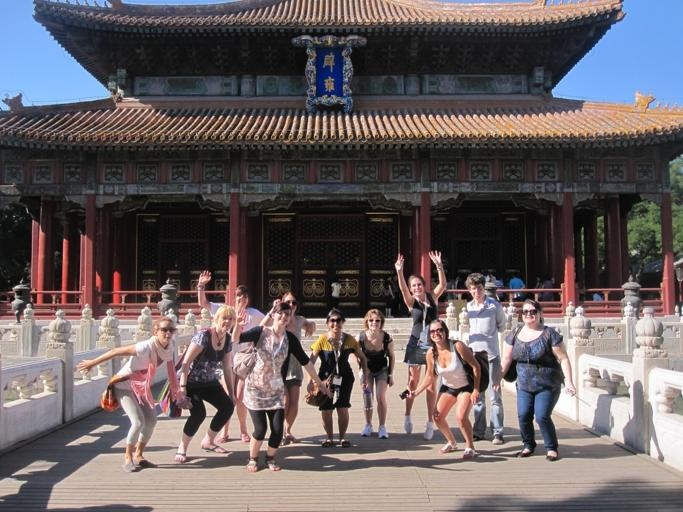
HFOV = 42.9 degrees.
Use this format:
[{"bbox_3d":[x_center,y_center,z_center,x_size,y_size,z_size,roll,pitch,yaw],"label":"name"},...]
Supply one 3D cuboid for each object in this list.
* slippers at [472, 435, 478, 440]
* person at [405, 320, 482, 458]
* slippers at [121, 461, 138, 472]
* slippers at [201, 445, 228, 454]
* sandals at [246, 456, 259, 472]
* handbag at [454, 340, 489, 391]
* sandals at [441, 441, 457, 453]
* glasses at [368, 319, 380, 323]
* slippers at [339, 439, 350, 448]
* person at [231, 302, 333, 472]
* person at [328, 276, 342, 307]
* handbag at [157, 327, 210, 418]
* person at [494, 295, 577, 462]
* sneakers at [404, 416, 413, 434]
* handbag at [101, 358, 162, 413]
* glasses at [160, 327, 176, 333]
[{"bbox_3d":[2.347,3.066,14.804,0.084,0.067,0.062,6,-10,6],"label":"slippers"},{"bbox_3d":[1.828,2.127,14.374,1.042,2.128,0.755,3,10,17],"label":"person"},{"bbox_3d":[-3.350,3.288,13.757,0.242,0.147,0.169,-4,11,-19],"label":"slippers"},{"bbox_3d":[-2.101,3.129,14.383,0.382,0.105,0.167,6,8,4],"label":"slippers"},{"bbox_3d":[-1.397,3.247,13.738,0.208,0.210,0.208,-3,11,-12],"label":"sandals"},{"bbox_3d":[2.259,2.004,14.599,0.474,0.820,0.547,5,-2,-28],"label":"handbag"},{"bbox_3d":[1.832,3.127,14.366,0.311,0.140,0.117,-5,6,0],"label":"sandals"},{"bbox_3d":[0.615,1.082,14.844,0.197,0.069,0.064,-3,11,-15],"label":"glasses"},{"bbox_3d":[0.091,3.105,14.681,0.198,0.134,0.266,0,11,-1],"label":"slippers"},{"bbox_3d":[-1.071,1.985,13.928,1.151,2.604,0.841,-5,11,-24],"label":"person"},{"bbox_3d":[-0.157,1.211,28.479,0.386,1.005,0.750,0,10,0],"label":"person"},{"bbox_3d":[-2.673,1.809,14.119,0.568,1.222,1.175,-12,-18,29],"label":"handbag"},{"bbox_3d":[3.273,1.982,14.220,1.186,2.491,0.653,3,10,17],"label":"person"},{"bbox_3d":[1.223,2.911,15.274,0.111,0.342,0.131,-2,-9,3],"label":"sneakers"},{"bbox_3d":[-3.448,2.004,14.087,0.953,1.077,0.589,3,7,-24],"label":"handbag"},{"bbox_3d":[-2.811,1.161,13.929,0.212,0.107,0.085,-5,11,-23],"label":"glasses"}]
